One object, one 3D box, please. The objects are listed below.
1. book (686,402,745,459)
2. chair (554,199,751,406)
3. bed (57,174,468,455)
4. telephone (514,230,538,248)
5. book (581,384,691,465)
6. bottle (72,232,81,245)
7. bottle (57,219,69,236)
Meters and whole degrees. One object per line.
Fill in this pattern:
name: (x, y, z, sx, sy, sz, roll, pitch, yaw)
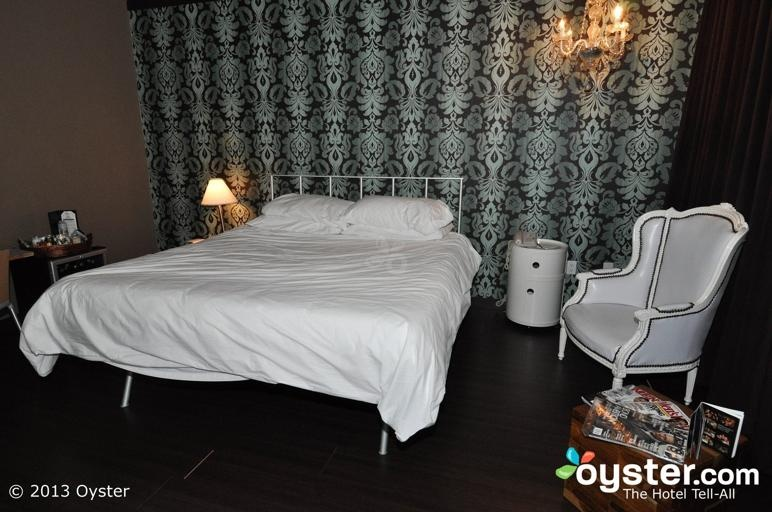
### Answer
book: (1.765, 0.927, 2.516, 0.279, 0.266, 0.142, 0, 19, 4)
chair: (2.012, 0.325, 3.559, 1.037, 1.401, 0.801, -8, 20, -18)
bed: (-0.794, 0.172, 4.254, 3.170, 1.502, 2.612, 2, 19, 12)
telephone: (1.335, -0.162, 4.473, 0.180, 0.049, 0.165, 1, 61, 11)
book: (1.410, 0.933, 2.609, 0.387, 0.131, 0.385, 8, 33, 21)
bottle: (-3.112, -0.184, 4.709, 0.081, 0.098, 0.150, -13, 21, -30)
bottle: (-3.245, -0.280, 4.716, 0.094, 0.132, 0.052, -14, 23, -33)
